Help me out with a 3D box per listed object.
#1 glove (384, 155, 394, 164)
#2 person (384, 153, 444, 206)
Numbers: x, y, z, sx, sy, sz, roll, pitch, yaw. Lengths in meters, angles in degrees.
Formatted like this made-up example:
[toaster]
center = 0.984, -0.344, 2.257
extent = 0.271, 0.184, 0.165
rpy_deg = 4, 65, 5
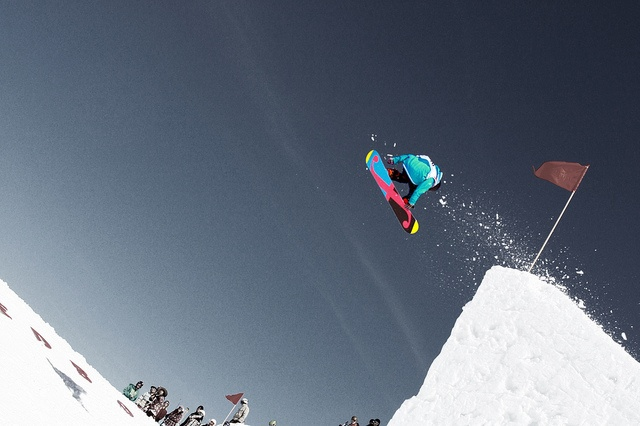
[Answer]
[glove]
center = 2.052, -1.577, 14.824
extent = 0.194, 0.285, 0.089
rpy_deg = 2, -11, 45
[person]
center = 2.756, -1.041, 14.928
extent = 1.464, 0.562, 0.952
rpy_deg = -163, -116, -65
